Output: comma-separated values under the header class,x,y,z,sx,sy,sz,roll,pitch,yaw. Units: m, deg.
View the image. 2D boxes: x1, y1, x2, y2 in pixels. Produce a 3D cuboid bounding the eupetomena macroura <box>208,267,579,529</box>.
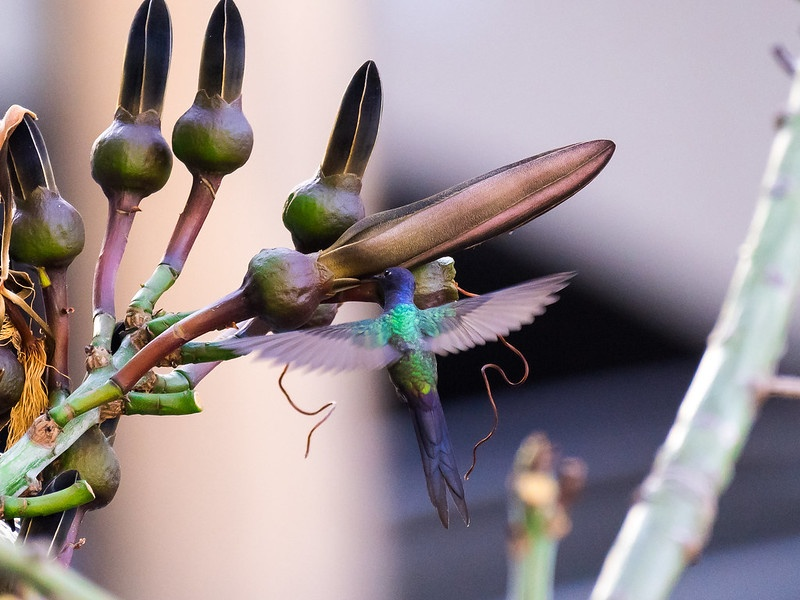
class,x,y,z,sx,sy,sz,roll,pitch,yaw
eupetomena macroura,0.013,0.050,0.858,0.215,0.098,0.195,-11,26,-10
